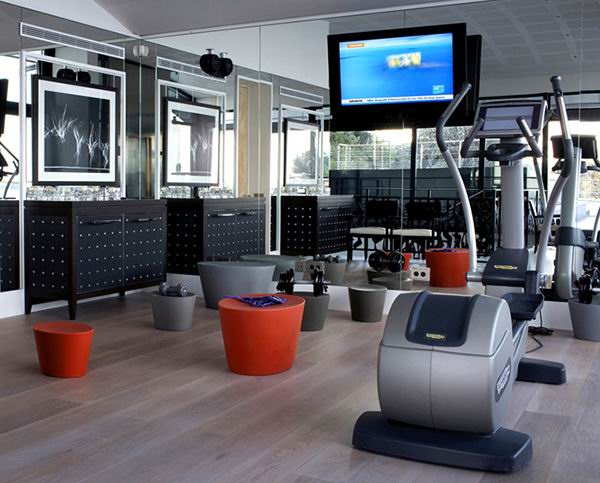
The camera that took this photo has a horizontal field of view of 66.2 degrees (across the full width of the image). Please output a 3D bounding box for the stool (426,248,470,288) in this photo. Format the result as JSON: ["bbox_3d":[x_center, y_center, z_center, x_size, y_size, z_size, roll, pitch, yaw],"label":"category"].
[{"bbox_3d":[1.423,0.263,4.473,0.390,0.413,0.179,1,5,15],"label":"stool"}]

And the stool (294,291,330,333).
[{"bbox_3d":[0.126,0.672,4.476,0.331,0.380,0.371,7,8,2],"label":"stool"}]

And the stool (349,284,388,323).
[{"bbox_3d":[0.716,0.663,4.887,0.442,0.328,0.421,1,1,-6],"label":"stool"}]

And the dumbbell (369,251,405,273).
[{"bbox_3d":[0.896,0.177,4.753,0.253,0.206,0.264,-2,3,-43],"label":"dumbbell"}]

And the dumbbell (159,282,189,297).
[{"bbox_3d":[-1.183,0.500,4.424,0.244,0.125,0.127,8,-29,22],"label":"dumbbell"}]

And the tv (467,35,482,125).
[{"bbox_3d":[1.591,-1.488,4.219,0.137,0.846,0.182,1,5,19],"label":"tv"}]

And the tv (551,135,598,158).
[{"bbox_3d":[2.371,-0.825,4.018,0.429,0.241,0.196,-2,5,-13],"label":"tv"}]

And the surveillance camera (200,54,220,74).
[{"bbox_3d":[-1.114,-2.196,5.671,0.197,0.264,0.144,14,3,1],"label":"surveillance camera"}]

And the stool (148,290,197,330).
[{"bbox_3d":[-1.200,0.659,4.304,0.403,0.330,0.266,-1,5,-6],"label":"stool"}]

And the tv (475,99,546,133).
[{"bbox_3d":[1.569,-0.922,3.419,0.345,0.229,0.113,2,1,21],"label":"tv"}]

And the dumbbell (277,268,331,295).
[{"bbox_3d":[0.043,0.403,4.657,0.480,0.260,0.617,0,5,7],"label":"dumbbell"}]

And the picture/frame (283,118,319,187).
[{"bbox_3d":[0.018,-0.915,4.980,0.428,0.702,0.035,7,13,29],"label":"picture/frame"}]

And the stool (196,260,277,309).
[{"bbox_3d":[-0.757,0.450,5.247,0.831,0.423,0.794,-1,1,4],"label":"stool"}]

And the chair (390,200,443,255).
[{"bbox_3d":[1.127,-0.158,4.760,0.594,0.772,0.455,2,2,34],"label":"chair"}]

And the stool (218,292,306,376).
[{"bbox_3d":[-0.293,0.649,3.428,0.656,0.493,0.575,2,3,19],"label":"stool"}]

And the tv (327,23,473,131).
[{"bbox_3d":[1.018,-1.601,4.458,1.452,1.008,0.155,0,1,23],"label":"tv"}]
